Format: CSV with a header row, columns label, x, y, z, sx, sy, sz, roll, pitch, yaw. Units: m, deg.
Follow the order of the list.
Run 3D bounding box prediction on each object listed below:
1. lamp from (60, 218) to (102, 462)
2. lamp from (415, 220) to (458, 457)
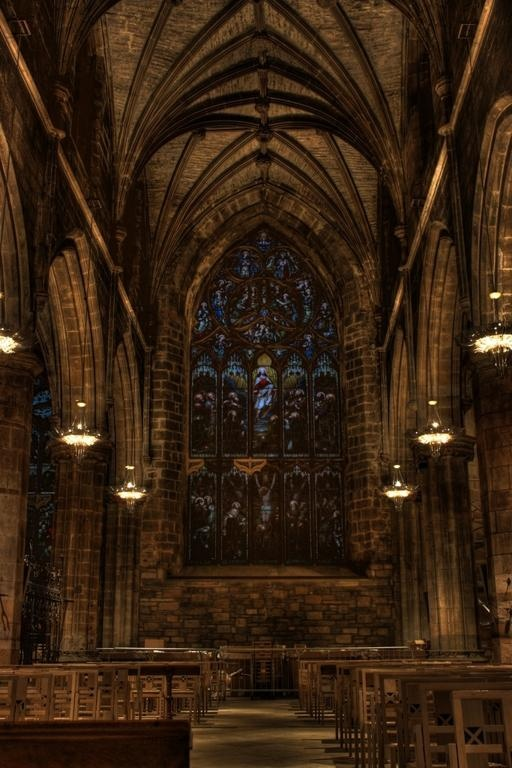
label,x,y,z,sx,sy,sz,roll,pitch,yaw
lamp,-3.406,-0.127,17.256,0.755,3.782,2.534,2,-19,-10
lamp,3.422,-0.501,16.583,0.979,3.510,2.435,-4,-19,10
